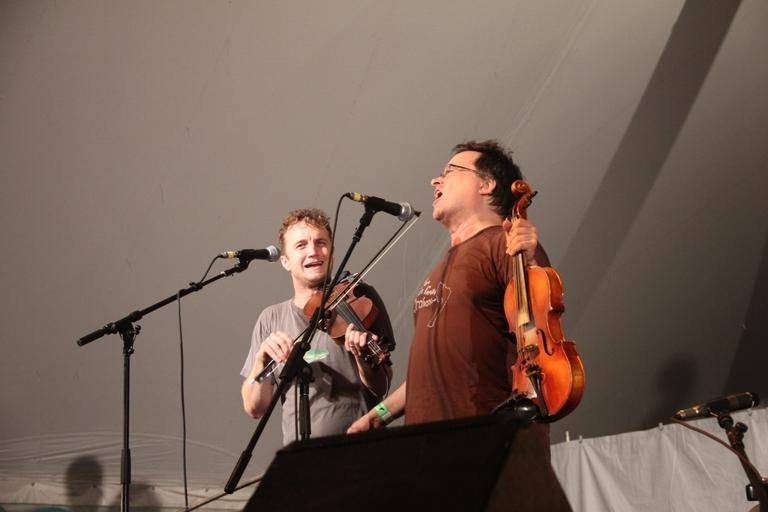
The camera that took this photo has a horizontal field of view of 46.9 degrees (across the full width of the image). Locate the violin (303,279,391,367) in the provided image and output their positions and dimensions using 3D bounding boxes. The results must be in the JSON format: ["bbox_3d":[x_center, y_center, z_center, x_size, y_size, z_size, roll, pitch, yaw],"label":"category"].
[{"bbox_3d":[-0.200,0.446,5.652,0.441,0.805,0.155,-32,-51,-9],"label":"violin"}]

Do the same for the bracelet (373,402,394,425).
[{"bbox_3d":[-0.008,0.994,5.674,0.082,0.135,0.141,-28,-53,-2],"label":"bracelet"}]

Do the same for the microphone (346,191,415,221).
[{"bbox_3d":[-0.019,-0.317,5.774,0.502,0.158,0.150,15,-7,-22],"label":"microphone"}]

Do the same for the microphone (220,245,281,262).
[{"bbox_3d":[-0.871,-0.010,5.504,0.452,0.130,0.131,-1,-5,-26],"label":"microphone"}]
